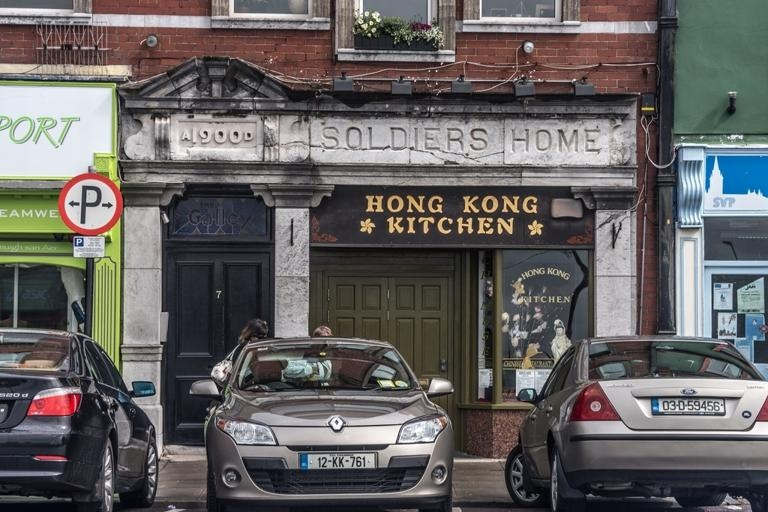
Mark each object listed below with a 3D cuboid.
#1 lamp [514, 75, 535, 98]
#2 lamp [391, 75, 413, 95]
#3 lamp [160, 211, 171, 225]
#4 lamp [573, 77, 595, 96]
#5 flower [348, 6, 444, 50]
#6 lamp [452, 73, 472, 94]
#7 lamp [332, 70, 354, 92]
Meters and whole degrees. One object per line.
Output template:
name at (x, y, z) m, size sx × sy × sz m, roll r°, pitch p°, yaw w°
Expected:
lamp at (2.337, -2.877, 32.017) m, size 0.359 × 0.335 × 0.348 m, roll 0°, pitch -4°, yaw -1°
lamp at (0.313, -2.909, 32.035) m, size 0.333 × 0.337 × 0.305 m, roll 1°, pitch -3°, yaw 2°
lamp at (-3.591, -0.690, 31.986) m, size 0.093 × 0.199 × 0.196 m, roll 0°, pitch -3°, yaw 20°
lamp at (3.334, -2.890, 32.081) m, size 0.312 × 0.260 × 0.319 m, roll 0°, pitch 1°, yaw 2°
flower at (0.258, -3.854, 32.275) m, size 1.500 × 0.665 × 0.271 m, roll 1°, pitch -3°, yaw 0°
lamp at (1.313, -2.940, 31.981) m, size 0.296 × 0.256 × 0.298 m, roll 0°, pitch 3°, yaw 1°
lamp at (-0.656, -2.959, 31.946) m, size 0.300 × 0.296 × 0.299 m, roll 0°, pitch -4°, yaw 1°
